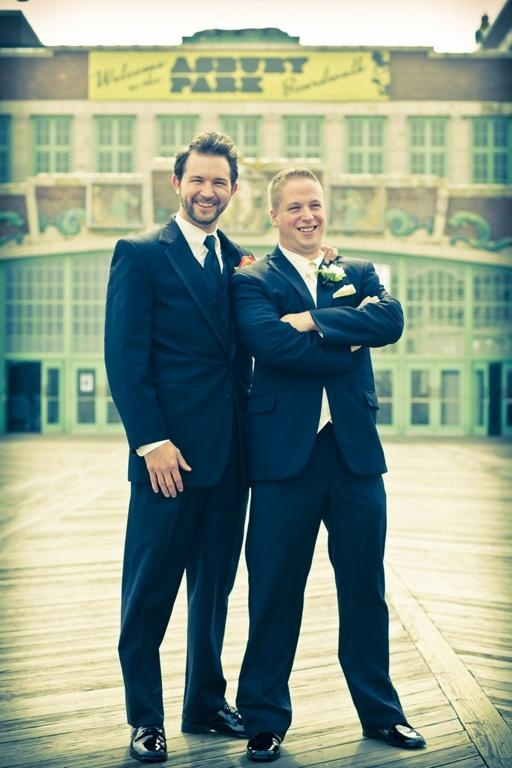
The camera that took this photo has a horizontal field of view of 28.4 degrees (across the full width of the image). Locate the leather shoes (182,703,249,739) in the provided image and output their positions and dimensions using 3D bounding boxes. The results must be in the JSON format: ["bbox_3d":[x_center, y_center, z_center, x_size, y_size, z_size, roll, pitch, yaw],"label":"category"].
[{"bbox_3d":[-0.137,1.139,3.417,0.222,0.086,0.088,-2,-5,4],"label":"leather shoes"}]

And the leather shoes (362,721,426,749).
[{"bbox_3d":[0.453,1.129,3.268,0.175,0.060,0.069,-6,-5,31],"label":"leather shoes"}]

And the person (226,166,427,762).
[{"bbox_3d":[0.230,0.220,3.400,0.612,1.929,0.488,-1,3,-2],"label":"person"}]

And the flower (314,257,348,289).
[{"bbox_3d":[0.261,-0.392,3.505,0.107,0.098,0.064,-3,19,2],"label":"flower"}]
